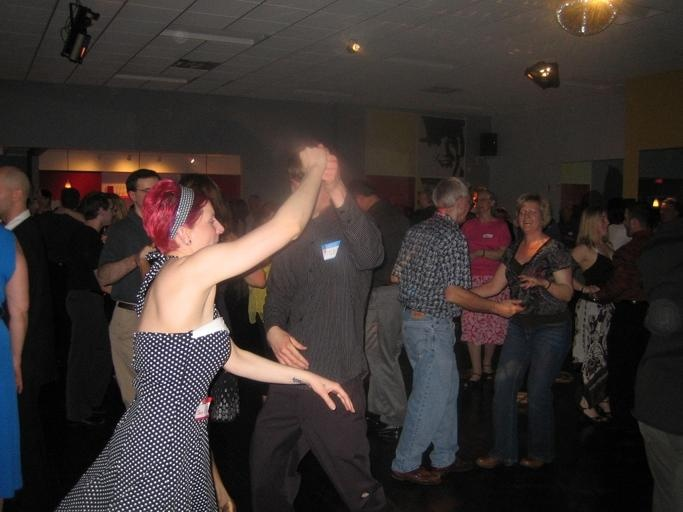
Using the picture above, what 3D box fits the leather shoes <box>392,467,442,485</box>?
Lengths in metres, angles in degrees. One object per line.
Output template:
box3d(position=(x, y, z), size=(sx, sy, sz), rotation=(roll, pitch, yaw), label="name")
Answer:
box3d(position=(0.552, 1.570, 4.062), size=(0.334, 0.141, 0.130), rotation=(0, 0, 1), label="leather shoes")

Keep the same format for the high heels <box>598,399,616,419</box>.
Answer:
box3d(position=(2.398, 1.382, 5.103), size=(0.106, 0.170, 0.177), rotation=(-1, 42, 20), label="high heels")

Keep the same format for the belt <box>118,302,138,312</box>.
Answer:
box3d(position=(-1.470, 0.348, 3.878), size=(0.119, 0.027, 0.118), rotation=(10, -10, -39), label="belt")
